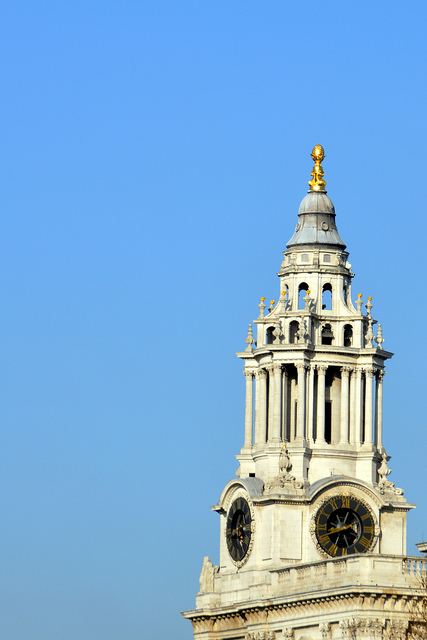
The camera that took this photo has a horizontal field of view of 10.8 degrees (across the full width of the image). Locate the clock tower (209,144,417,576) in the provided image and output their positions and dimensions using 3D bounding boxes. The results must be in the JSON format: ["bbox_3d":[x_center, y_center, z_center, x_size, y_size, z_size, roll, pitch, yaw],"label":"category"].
[{"bbox_3d":[4.683,2.644,107.992,8.317,20.988,8.498,9,-10,-38],"label":"clock tower"}]
